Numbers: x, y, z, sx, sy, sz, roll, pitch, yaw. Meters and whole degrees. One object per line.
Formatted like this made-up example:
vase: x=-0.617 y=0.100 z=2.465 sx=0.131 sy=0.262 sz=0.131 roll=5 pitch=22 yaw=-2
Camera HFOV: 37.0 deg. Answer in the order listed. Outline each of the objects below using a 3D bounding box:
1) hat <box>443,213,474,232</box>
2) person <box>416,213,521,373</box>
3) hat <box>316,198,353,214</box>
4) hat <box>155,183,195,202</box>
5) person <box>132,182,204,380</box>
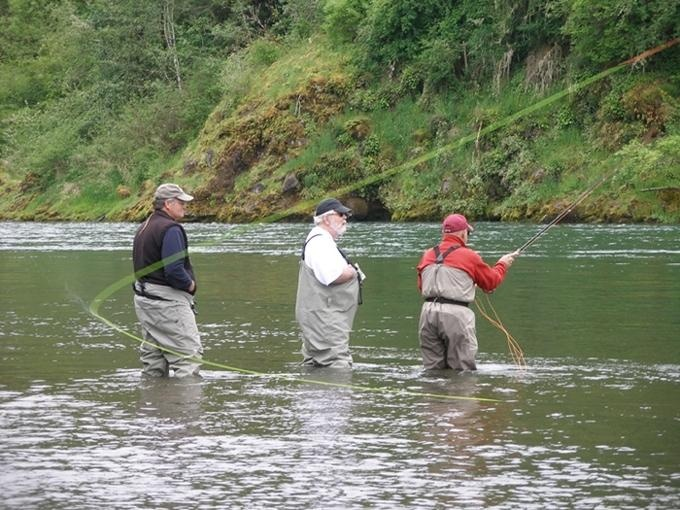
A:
hat: x=1.303 y=-0.360 z=11.295 sx=0.205 sy=0.157 sz=0.292 roll=6 pitch=9 yaw=41
person: x=1.355 y=0.393 z=11.249 sx=1.049 sy=1.696 sz=0.713 roll=0 pitch=1 yaw=-30
hat: x=-0.088 y=-0.531 z=11.181 sx=0.311 sy=0.147 sz=0.191 roll=2 pitch=-1 yaw=-9
hat: x=-1.775 y=-0.665 z=10.835 sx=0.379 sy=0.147 sz=0.224 roll=4 pitch=2 yaw=-9
person: x=-1.796 y=0.368 z=11.043 sx=0.849 sy=2.180 sz=0.955 roll=-7 pitch=15 yaw=-40
